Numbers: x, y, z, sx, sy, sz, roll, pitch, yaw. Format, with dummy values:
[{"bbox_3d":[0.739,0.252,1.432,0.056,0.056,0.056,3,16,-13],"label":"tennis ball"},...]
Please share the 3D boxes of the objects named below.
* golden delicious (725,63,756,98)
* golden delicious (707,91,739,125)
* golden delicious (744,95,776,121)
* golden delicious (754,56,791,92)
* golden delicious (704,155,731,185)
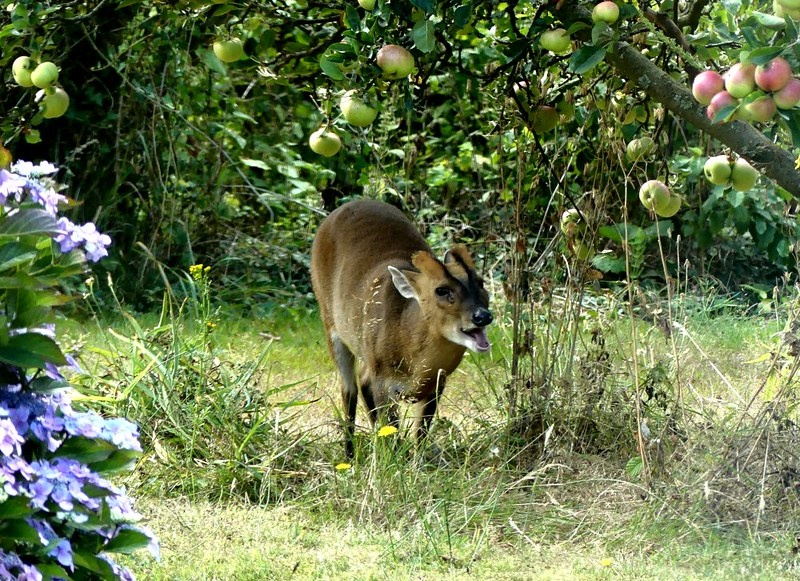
[{"bbox_3d":[1.183,-0.743,3.869,0.070,0.120,0.127,3,0,-30],"label":"golden delicious"},{"bbox_3d":[1.149,-0.650,3.963,0.104,0.136,0.112,4,-39,8],"label":"golden delicious"},{"bbox_3d":[1.262,-0.637,3.879,0.088,0.093,0.084,-12,27,-25],"label":"golden delicious"},{"bbox_3d":[1.282,-0.754,3.800,0.111,0.116,0.115,0,12,7],"label":"golden delicious"},{"bbox_3d":[1.355,-0.536,4.692,0.112,0.123,0.113,4,-23,-4],"label":"golden delicious"}]
